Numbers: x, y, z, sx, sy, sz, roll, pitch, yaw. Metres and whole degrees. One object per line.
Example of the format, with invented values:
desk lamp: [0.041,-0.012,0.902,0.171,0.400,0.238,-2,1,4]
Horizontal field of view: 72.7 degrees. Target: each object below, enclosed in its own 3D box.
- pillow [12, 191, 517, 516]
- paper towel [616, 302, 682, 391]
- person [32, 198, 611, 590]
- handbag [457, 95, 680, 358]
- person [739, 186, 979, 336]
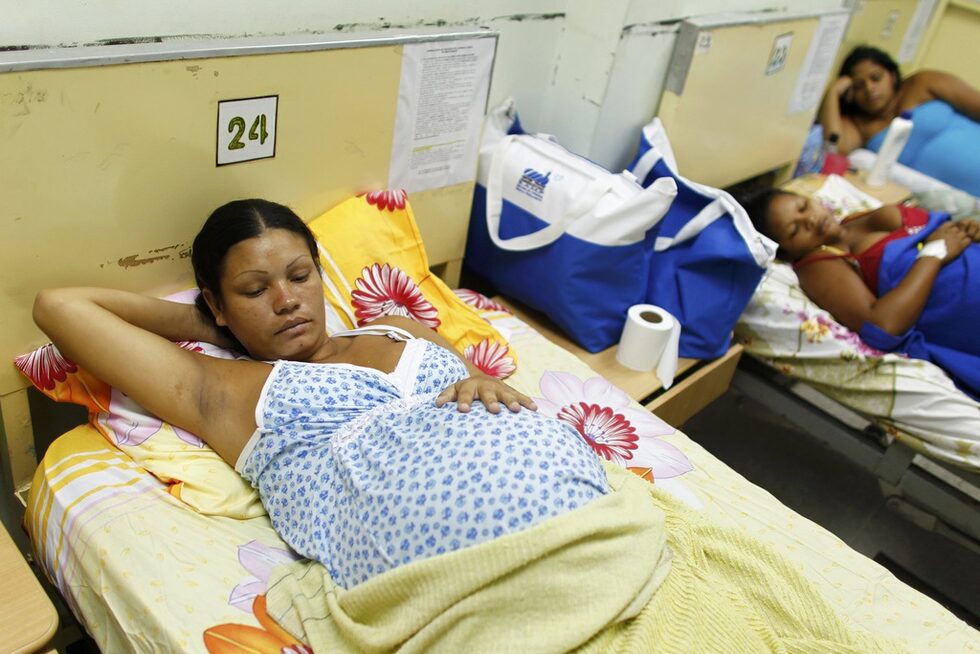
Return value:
pillow: [-0.546,0.029,2.035,1.059,0.308,1.033,-24,46,-37]
paper towel: [0.578,0.055,2.383,0.229,0.191,0.174,27,33,26]
person: [-0.456,0.173,1.641,1.196,0.424,0.927,32,37,27]
handbag: [0.270,-0.331,2.362,0.763,0.612,0.449,34,44,23]
person: [1.476,-0.264,2.810,0.766,0.245,0.712,21,44,34]
